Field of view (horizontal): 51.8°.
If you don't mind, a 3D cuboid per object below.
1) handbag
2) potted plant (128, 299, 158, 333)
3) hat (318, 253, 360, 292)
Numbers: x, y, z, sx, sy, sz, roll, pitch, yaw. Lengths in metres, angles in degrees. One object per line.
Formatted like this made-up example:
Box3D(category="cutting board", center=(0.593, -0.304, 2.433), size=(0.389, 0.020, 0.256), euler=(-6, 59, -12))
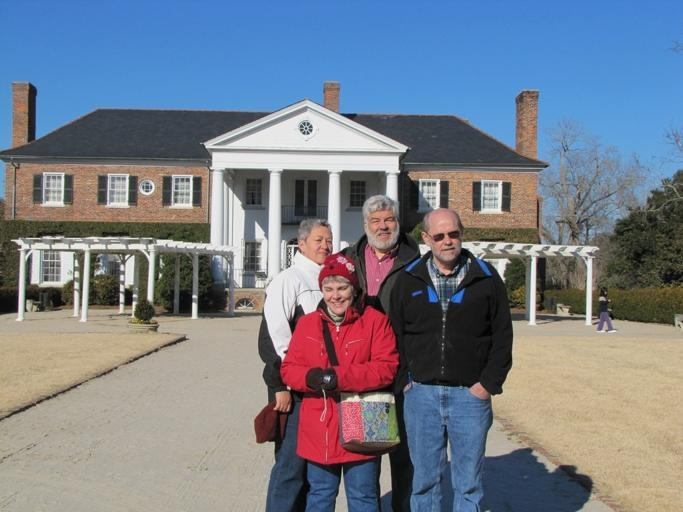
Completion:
Box3D(category="handbag", center=(0.215, 1.460, 6.122), size=(0.484, 0.524, 0.237), euler=(0, -18, -7))
Box3D(category="potted plant", center=(-5.670, 1.599, 20.016), size=(0.767, 0.940, 0.780), euler=(4, 6, -8))
Box3D(category="hat", center=(-0.032, 0.136, 6.269), size=(0.248, 0.282, 0.353), euler=(0, -20, 4))
